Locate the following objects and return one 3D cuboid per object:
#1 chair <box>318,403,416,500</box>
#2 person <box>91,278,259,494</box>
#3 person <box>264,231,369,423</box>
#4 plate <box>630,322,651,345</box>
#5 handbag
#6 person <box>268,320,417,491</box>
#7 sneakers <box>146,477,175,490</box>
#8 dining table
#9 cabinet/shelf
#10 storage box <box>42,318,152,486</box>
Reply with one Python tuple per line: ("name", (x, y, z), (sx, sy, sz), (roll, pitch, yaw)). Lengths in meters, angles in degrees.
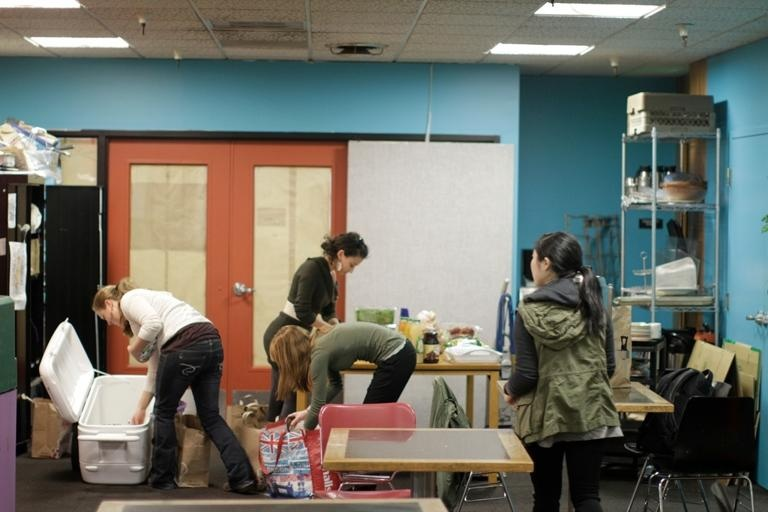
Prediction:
("chair", (-0.110, 1.305, 4.764), (0.602, 0.745, 0.626), (1, -11, -1))
("person", (-1.690, 1.057, 5.656), (1.294, 1.723, 0.408), (-1, 4, 17))
("person", (-0.645, 0.795, 6.040), (0.826, 2.001, 0.681), (6, 4, 17))
("plate", (2.249, 0.665, 6.063), (0.153, 0.144, 0.176), (-1, 3, 21))
("handbag", (-0.611, 1.436, 4.896), (0.551, 0.510, 0.263), (-6, -6, 15))
("person", (-0.326, 0.785, 4.875), (1.221, 1.249, 0.557), (-3, -16, 4))
("sneakers", (-1.824, 1.823, 5.652), (0.173, 0.069, 0.091), (3, -2, 10))
("dining table", (0.423, 1.319, 6.077), (1.504, 1.099, 1.139), (-1, -5, 0))
("cabinet/shelf", (2.812, -0.190, 6.854), (0.940, 2.006, 1.779), (0, 3, 20))
("storage box", (-2.536, 1.333, 6.229), (0.914, 1.039, 1.443), (3, 3, -18))
